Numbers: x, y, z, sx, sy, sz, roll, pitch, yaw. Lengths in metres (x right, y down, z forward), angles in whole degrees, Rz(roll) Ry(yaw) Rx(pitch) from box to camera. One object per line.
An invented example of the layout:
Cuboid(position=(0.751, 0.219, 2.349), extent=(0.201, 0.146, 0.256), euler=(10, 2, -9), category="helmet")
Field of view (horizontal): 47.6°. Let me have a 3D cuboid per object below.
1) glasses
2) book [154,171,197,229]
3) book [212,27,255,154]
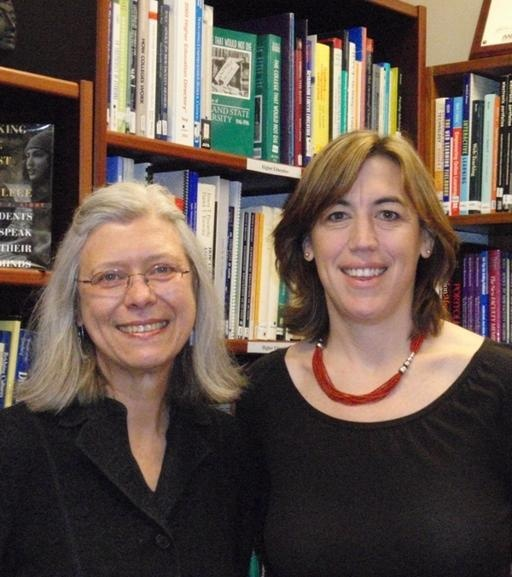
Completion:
Cuboid(position=(-0.232, -0.022, 1.134), extent=(0.209, 0.051, 0.069), euler=(1, 7, -18), category="glasses")
Cuboid(position=(-0.233, -0.266, 1.842), extent=(0.054, 0.183, 0.206), euler=(-13, 6, -14), category="book")
Cuboid(position=(-0.081, -0.658, 1.950), extent=(0.172, 0.414, 0.081), euler=(1, 7, -21), category="book")
